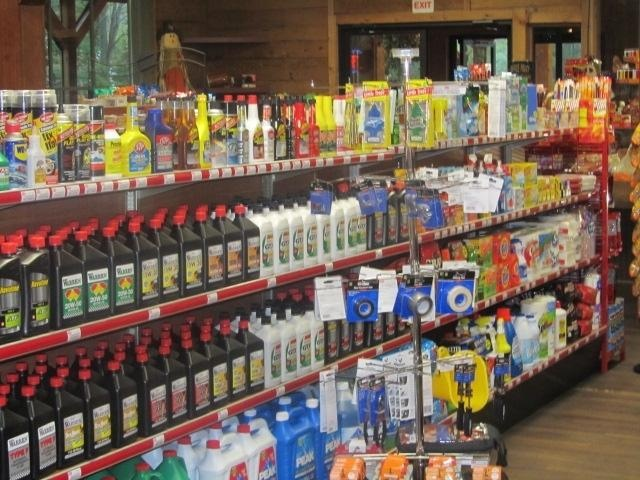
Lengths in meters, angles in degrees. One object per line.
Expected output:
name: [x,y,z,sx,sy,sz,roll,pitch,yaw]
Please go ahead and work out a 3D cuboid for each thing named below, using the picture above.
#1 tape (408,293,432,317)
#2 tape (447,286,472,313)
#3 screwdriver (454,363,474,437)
tape: [0.470,0.308,3.805,0.102,0.123,0.086,-4,23,-29]
tape: [0.662,0.282,3.927,0.085,0.108,0.028,-11,4,-16]
screwdriver: [0.694,0.790,3.995,0.114,0.400,0.181,7,10,12]
